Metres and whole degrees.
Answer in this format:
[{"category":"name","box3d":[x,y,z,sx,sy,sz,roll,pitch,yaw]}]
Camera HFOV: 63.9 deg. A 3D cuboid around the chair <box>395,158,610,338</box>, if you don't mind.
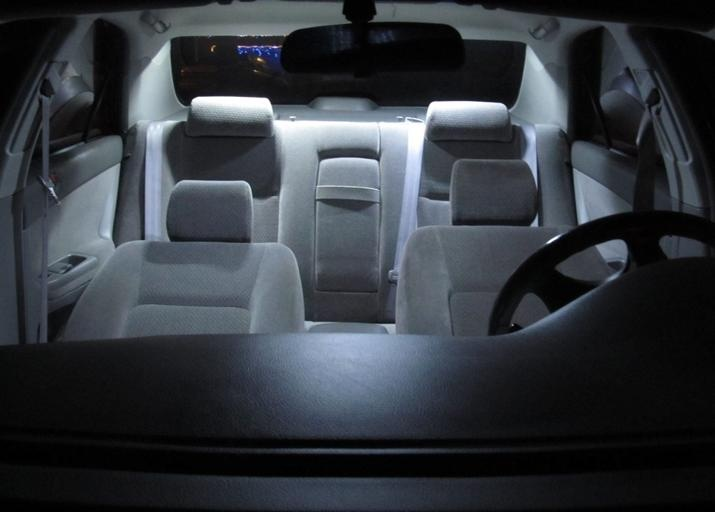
[{"category":"chair","box3d":[0.450,0.025,1.800,0.615,0.576,0.726,-1,90,1]}]
